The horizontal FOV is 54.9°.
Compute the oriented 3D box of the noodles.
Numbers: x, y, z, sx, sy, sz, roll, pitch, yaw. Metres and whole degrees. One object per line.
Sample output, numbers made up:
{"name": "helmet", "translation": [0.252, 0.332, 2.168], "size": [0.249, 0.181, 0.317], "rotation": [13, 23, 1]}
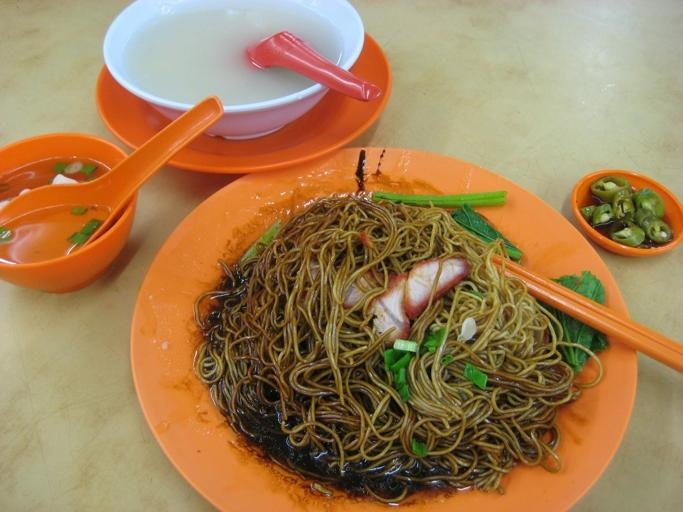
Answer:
{"name": "noodles", "translation": [0.114, 0.150, 2.506], "size": [1.441, 0.746, 1.232], "rotation": [-1, 41, -5]}

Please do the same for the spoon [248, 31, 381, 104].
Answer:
{"name": "spoon", "translation": [-0.105, -0.640, 2.239], "size": [0.519, 0.162, 0.144], "rotation": [31, 82, 7]}
